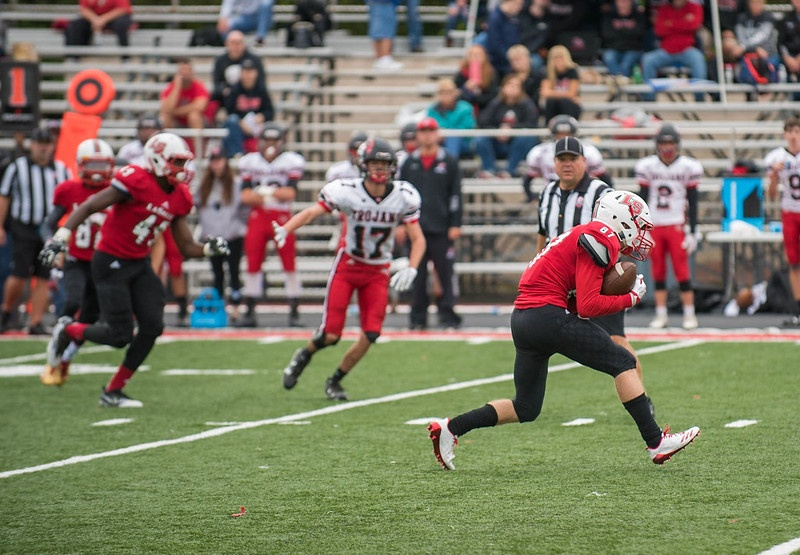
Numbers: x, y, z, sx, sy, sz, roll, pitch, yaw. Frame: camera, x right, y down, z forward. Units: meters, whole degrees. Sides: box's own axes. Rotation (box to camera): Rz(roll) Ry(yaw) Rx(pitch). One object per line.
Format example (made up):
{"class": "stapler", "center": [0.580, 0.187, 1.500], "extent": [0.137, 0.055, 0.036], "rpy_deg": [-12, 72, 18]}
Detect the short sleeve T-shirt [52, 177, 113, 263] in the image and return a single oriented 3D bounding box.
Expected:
{"class": "short sleeve T-shirt", "center": [-3.103, -0.614, 11.621], "extent": [0.696, 0.798, 0.260], "rpy_deg": [5, 20, -18]}

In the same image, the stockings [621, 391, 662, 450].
{"class": "stockings", "center": [1.749, 1.028, 8.610], "extent": [0.246, 0.393, 0.174], "rpy_deg": [-4, 7, -25]}

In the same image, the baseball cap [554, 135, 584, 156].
{"class": "baseball cap", "center": [1.385, -1.079, 9.878], "extent": [0.231, 0.153, 0.163], "rpy_deg": [0, 7, 8]}

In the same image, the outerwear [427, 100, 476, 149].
{"class": "outerwear", "center": [0.747, -2.004, 16.225], "extent": [0.716, 0.910, 0.621], "rpy_deg": [1, 7, 5]}

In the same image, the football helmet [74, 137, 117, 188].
{"class": "football helmet", "center": [-2.851, -1.079, 11.224], "extent": [0.306, 0.381, 0.442], "rpy_deg": [-1, 8, -16]}

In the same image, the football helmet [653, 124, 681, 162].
{"class": "football helmet", "center": [3.060, -1.536, 13.738], "extent": [0.276, 0.392, 0.407], "rpy_deg": [-1, -11, 6]}

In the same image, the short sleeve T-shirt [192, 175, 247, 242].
{"class": "short sleeve T-shirt", "center": [-2.138, -0.838, 14.332], "extent": [0.927, 0.977, 0.515], "rpy_deg": [0, 0, -3]}

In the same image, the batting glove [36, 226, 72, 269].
{"class": "batting glove", "center": [-2.895, -0.249, 10.035], "extent": [0.271, 0.448, 0.192], "rpy_deg": [17, -10, -17]}

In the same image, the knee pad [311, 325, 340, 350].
{"class": "knee pad", "center": [-0.665, 0.526, 10.552], "extent": [0.160, 0.149, 0.221], "rpy_deg": [16, -4, -5]}

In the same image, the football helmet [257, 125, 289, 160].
{"class": "football helmet", "center": [-1.551, -1.653, 14.575], "extent": [0.327, 0.498, 0.480], "rpy_deg": [4, 7, -4]}

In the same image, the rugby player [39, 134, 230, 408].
{"class": "rugby player", "center": [-2.227, -0.059, 10.261], "extent": [1.505, 2.349, 0.920], "rpy_deg": [1, 2, -5]}

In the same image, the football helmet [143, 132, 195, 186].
{"class": "football helmet", "center": [-1.898, -1.038, 10.155], "extent": [0.424, 0.387, 0.338], "rpy_deg": [14, 22, 4]}

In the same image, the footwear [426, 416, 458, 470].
{"class": "footwear", "center": [0.311, 1.194, 8.773], "extent": [0.229, 0.450, 0.143], "rpy_deg": [-14, 14, 0]}

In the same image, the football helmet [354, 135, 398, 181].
{"class": "football helmet", "center": [-0.201, -1.050, 10.260], "extent": [0.307, 0.359, 0.405], "rpy_deg": [-5, 24, -14]}

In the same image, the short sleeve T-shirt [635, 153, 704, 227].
{"class": "short sleeve T-shirt", "center": [3.165, -0.975, 14.044], "extent": [0.888, 0.951, 0.358], "rpy_deg": [5, 7, 40]}

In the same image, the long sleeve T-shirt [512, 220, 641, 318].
{"class": "long sleeve T-shirt", "center": [1.318, -0.044, 8.818], "extent": [0.832, 0.766, 0.740], "rpy_deg": [1, -9, 31]}

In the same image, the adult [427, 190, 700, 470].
{"class": "adult", "center": [1.197, 0.371, 8.854], "extent": [1.969, 2.033, 0.977], "rpy_deg": [-2, -7, -3]}

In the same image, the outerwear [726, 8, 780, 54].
{"class": "outerwear", "center": [4.963, -3.407, 16.580], "extent": [0.367, 0.257, 0.512], "rpy_deg": [12, 39, 26]}

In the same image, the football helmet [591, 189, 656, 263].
{"class": "football helmet", "center": [1.657, -0.411, 8.770], "extent": [0.462, 0.458, 0.367], "rpy_deg": [10, 5, 0]}

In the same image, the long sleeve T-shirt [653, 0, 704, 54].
{"class": "long sleeve T-shirt", "center": [3.877, -3.493, 16.738], "extent": [0.624, 0.723, 0.261], "rpy_deg": [1, 7, 13]}

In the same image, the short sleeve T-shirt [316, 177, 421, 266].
{"class": "short sleeve T-shirt", "center": [-0.270, -0.486, 10.536], "extent": [0.971, 0.805, 0.356], "rpy_deg": [4, 7, -18]}

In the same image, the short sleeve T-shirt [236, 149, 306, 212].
{"class": "short sleeve T-shirt", "center": [-1.516, -1.220, 14.582], "extent": [1.032, 1.066, 0.605], "rpy_deg": [0, -3, -2]}

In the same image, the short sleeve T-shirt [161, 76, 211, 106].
{"class": "short sleeve T-shirt", "center": [-3.083, -2.590, 16.776], "extent": [0.799, 0.363, 0.478], "rpy_deg": [2, 7, 25]}

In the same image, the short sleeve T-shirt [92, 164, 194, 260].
{"class": "short sleeve T-shirt", "center": [-2.237, -0.559, 10.378], "extent": [0.482, 0.860, 0.867], "rpy_deg": [30, 8, 38]}

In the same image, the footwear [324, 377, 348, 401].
{"class": "footwear", "center": [-0.581, 1.009, 10.688], "extent": [0.212, 0.162, 0.105], "rpy_deg": [46, 3, 18]}

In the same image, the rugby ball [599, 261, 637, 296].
{"class": "rugby ball", "center": [1.575, 0.005, 8.660], "extent": [0.165, 0.277, 0.188], "rpy_deg": [41, 3, 13]}

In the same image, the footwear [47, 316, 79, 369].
{"class": "footwear", "center": [-3.093, 0.604, 10.920], "extent": [0.228, 0.519, 0.181], "rpy_deg": [14, 8, -38]}

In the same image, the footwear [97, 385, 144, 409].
{"class": "footwear", "center": [-2.442, 1.053, 10.502], "extent": [0.416, 0.190, 0.157], "rpy_deg": [2, -2, 0]}

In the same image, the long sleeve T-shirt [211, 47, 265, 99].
{"class": "long sleeve T-shirt", "center": [-2.376, -2.865, 16.650], "extent": [0.634, 0.789, 0.211], "rpy_deg": [0, -26, 6]}

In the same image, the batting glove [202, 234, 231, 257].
{"class": "batting glove", "center": [-1.578, -0.269, 10.180], "extent": [0.199, 0.149, 0.336], "rpy_deg": [-2, 7, -12]}
